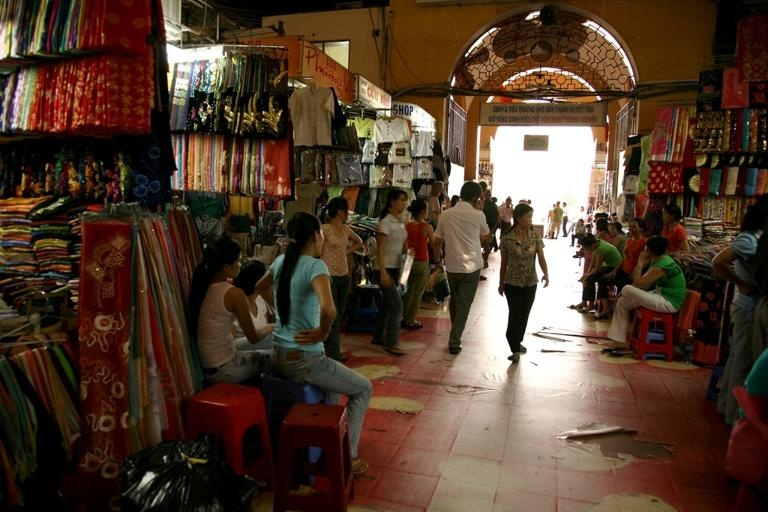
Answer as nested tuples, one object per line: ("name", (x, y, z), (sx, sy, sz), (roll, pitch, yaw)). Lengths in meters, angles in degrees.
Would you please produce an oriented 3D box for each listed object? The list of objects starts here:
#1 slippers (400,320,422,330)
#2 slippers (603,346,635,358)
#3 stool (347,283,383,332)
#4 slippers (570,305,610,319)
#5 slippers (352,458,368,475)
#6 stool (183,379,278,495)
("slippers", (0.395, 0.950, 7.428), (0.335, 0.153, 0.115), (0, 17, -4))
("slippers", (2.801, 1.155, 6.443), (0.350, 0.145, 0.127), (7, 4, 2))
("stool", (-0.257, 0.734, 7.406), (0.543, 0.733, 0.572), (2, -4, 3))
("slippers", (3.312, 0.877, 8.510), (0.346, 0.127, 0.220), (4, 4, 39))
("slippers", (-0.175, 1.528, 3.920), (0.155, 0.068, 0.073), (-2, 1, 25))
("stool", (-1.026, 1.247, 3.643), (0.426, 0.698, 0.407), (7, 11, 31))
